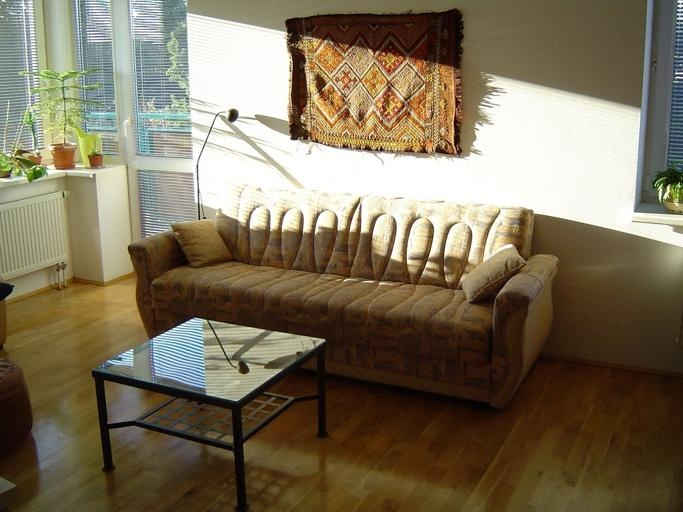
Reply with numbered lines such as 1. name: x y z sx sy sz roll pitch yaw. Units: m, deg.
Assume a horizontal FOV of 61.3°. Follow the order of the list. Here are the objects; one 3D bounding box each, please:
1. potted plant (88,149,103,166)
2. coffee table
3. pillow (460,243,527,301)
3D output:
1. potted plant: -2.266 -0.903 5.327 0.104 0.146 0.141 13 21 31
2. coffee table: -0.623 0.626 3.011 0.942 0.551 0.947 8 19 26
3. pillow: 0.946 0.115 3.553 0.416 0.299 0.309 -11 21 -33
